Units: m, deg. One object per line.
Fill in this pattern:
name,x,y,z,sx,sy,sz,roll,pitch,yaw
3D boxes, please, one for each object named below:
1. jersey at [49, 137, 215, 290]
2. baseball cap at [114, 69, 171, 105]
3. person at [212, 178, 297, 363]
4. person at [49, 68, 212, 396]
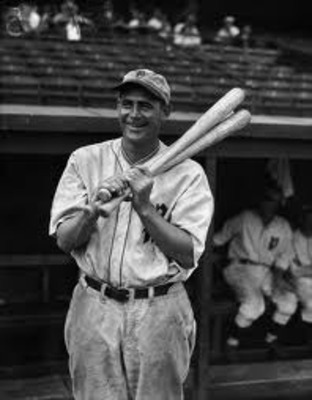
jersey,-0.132,0.128,5.674,0.877,0.908,0.330,13,-9,5
baseball cap,-0.058,-0.727,5.744,0.311,0.208,0.418,6,-5,7
person,0.781,0.545,7.268,0.649,1.413,0.447,-1,10,2
person,-0.145,0.228,5.715,0.991,2.019,0.454,-3,10,-7
